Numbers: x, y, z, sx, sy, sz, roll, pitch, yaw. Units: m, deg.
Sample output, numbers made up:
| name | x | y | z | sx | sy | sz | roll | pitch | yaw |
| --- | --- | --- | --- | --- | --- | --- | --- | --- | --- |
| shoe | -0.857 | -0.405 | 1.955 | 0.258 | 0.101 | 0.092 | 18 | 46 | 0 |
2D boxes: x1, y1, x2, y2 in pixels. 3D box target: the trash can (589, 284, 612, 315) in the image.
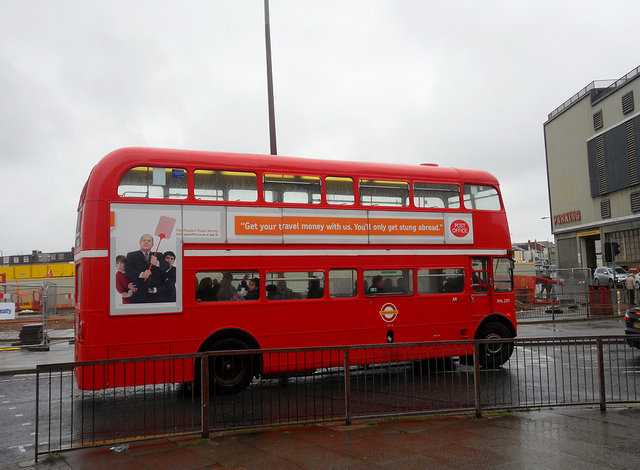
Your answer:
| name | x | y | z | sx | sy | sz | roll | pitch | yaw |
| --- | --- | --- | --- | --- | --- | --- | --- | --- | --- |
| trash can | 15.205 | 3.479 | 29.841 | 0.859 | 1.273 | 0.876 | 6 | 5 | -31 |

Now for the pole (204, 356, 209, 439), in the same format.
| name | x | y | z | sx | sy | sz | roll | pitch | yaw |
| --- | --- | --- | --- | --- | --- | --- | --- | --- | --- |
| pole | -2.059 | 2.932 | 10.142 | 0.068 | 1.306 | 0.207 | -1 | 0 | -12 |

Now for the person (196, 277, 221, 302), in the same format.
| name | x | y | z | sx | sy | sz | roll | pitch | yaw |
| --- | --- | --- | --- | --- | --- | --- | --- | --- | --- |
| person | -2.676 | 1.280 | 13.362 | 0.535 | 0.961 | 0.500 | 2 | -3 | -37 |

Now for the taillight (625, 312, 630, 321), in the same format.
| name | x | y | z | sx | sy | sz | roll | pitch | yaw |
| --- | --- | --- | --- | --- | --- | --- | --- | --- | --- |
| taillight | 9.631 | 2.537 | 17.430 | 0.044 | 0.217 | 0.258 | -1 | 0 | 10 |

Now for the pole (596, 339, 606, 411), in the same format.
| name | x | y | z | sx | sy | sz | roll | pitch | yaw |
| --- | --- | --- | --- | --- | --- | --- | --- | --- | --- |
| pole | 5.774 | 2.856 | 11.426 | 0.135 | 1.475 | 0.385 | 0 | 0 | 35 |

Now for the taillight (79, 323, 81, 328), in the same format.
| name | x | y | z | sx | sy | sz | roll | pitch | yaw |
| --- | --- | --- | --- | --- | --- | --- | --- | --- | --- |
| taillight | -5.516 | 2.083 | 12.821 | 0.010 | 0.098 | 0.405 | -1 | 0 | -28 |
